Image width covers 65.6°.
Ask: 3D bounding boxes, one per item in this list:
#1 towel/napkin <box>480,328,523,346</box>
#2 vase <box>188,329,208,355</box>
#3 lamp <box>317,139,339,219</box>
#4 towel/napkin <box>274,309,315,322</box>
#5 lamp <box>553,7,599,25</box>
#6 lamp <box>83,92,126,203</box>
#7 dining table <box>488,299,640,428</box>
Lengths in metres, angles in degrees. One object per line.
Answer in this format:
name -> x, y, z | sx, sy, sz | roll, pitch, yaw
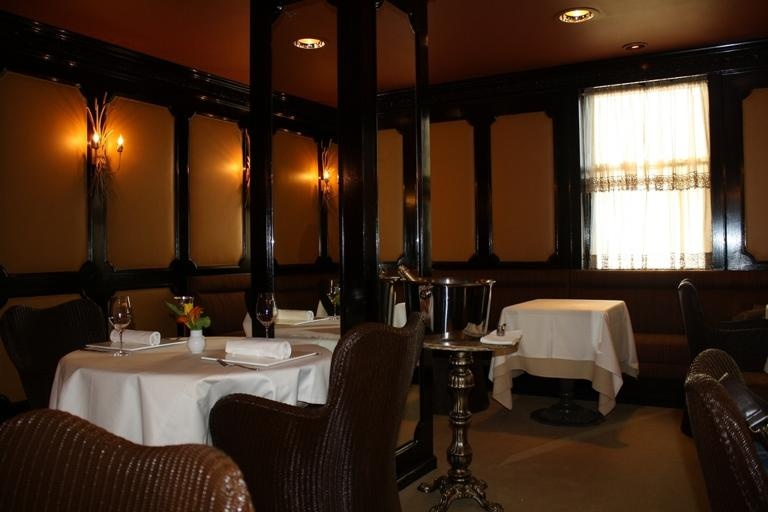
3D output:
towel/napkin -> 0.716, 0.496, 3.638 | 0.224, 0.085, 0.358 | 2, 7, 18
vase -> -1.030, 0.476, 3.327 | 0.106, 0.141, 0.111 | 0, -8, -1
lamp -> -0.355, -0.489, 3.937 | 0.135, 0.496, 0.081 | 1, 7, 12
towel/napkin -> -0.582, 0.396, 3.915 | 0.156, 0.053, 0.121 | 3, -6, 5
lamp -> 1.786, -2.216, 5.503 | 0.344, 0.067, 0.268 | 2, 7, 16
lamp -> -2.793, -1.005, 5.952 | 0.290, 1.057, 0.369 | -5, -4, 42
dining table -> 1.569, 0.694, 5.041 | 1.004, 0.751, 1.040 | 0, 4, 23
